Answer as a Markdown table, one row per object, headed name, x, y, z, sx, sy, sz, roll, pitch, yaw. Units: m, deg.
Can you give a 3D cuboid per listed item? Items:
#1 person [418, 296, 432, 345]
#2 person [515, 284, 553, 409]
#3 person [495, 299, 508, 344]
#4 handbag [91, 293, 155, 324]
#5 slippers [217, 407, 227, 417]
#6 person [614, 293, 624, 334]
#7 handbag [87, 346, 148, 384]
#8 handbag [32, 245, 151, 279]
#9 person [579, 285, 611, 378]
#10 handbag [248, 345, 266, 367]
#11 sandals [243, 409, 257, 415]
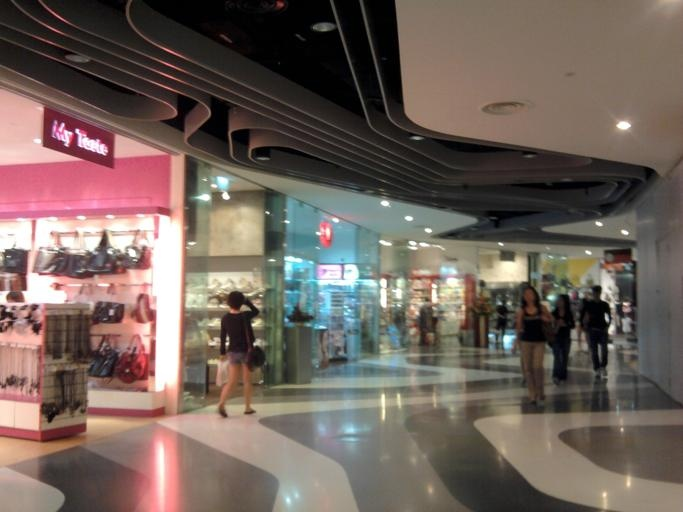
| name | x | y | z | sx | sy | sz | roll | pitch | yaw |
| --- | --- | --- | --- | --- | --- | --- | --- | --- | --- |
| person | 2.287 | 1.771 | 14.155 | 0.428 | 1.241 | 0.104 | 1 | -3 | -23 |
| person | 3.046 | 1.410 | 8.258 | 0.452 | 1.836 | 0.549 | 0 | -3 | 1 |
| person | 4.275 | 1.846 | 14.025 | 0.345 | 1.125 | 0.192 | -2 | -3 | 27 |
| handbag | -3.262 | 0.784 | 7.909 | 0.944 | 0.463 | 0.188 | -1 | -3 | 12 |
| slippers | -1.701 | 2.248 | 7.602 | 0.081 | 0.201 | 0.088 | -22 | -6 | 35 |
| person | 5.839 | 1.214 | 11.033 | 0.153 | 0.799 | 0.363 | -2 | -3 | 27 |
| handbag | -3.246 | 1.614 | 7.789 | 0.564 | 0.391 | 0.699 | 2 | -8 | -4 |
| handbag | -3.690 | 0.078 | 7.998 | 0.817 | 0.324 | 0.989 | -1 | -6 | 18 |
| person | 5.149 | 1.551 | 10.655 | 0.543 | 1.860 | 0.682 | -1 | -3 | 24 |
| handbag | -1.201 | 1.464 | 7.604 | 0.152 | 0.323 | 0.248 | -2 | -4 | 31 |
| sandals | -1.323 | 2.300 | 7.765 | 0.071 | 0.063 | 0.184 | 0 | -2 | 28 |
